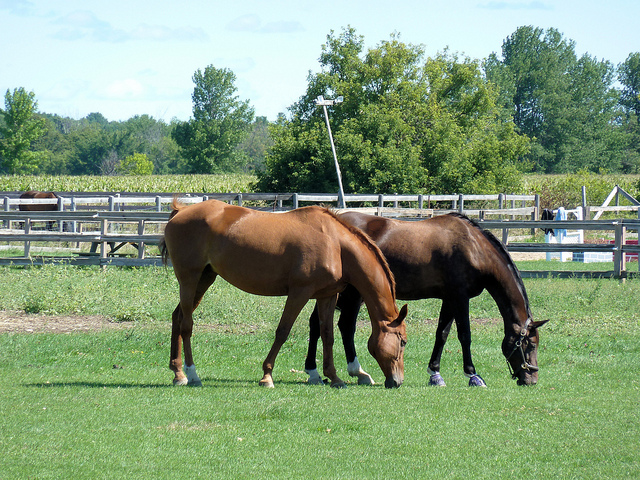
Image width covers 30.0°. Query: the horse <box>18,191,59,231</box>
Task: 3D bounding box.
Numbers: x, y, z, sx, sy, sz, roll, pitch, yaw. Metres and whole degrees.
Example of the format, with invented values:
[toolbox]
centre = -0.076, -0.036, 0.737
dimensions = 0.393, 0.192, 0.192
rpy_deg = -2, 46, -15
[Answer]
[horse]
centre = -13.305, -1.404, 56.508
dimensions = 1.750, 1.802, 3.560
rpy_deg = -1, 2, -14
